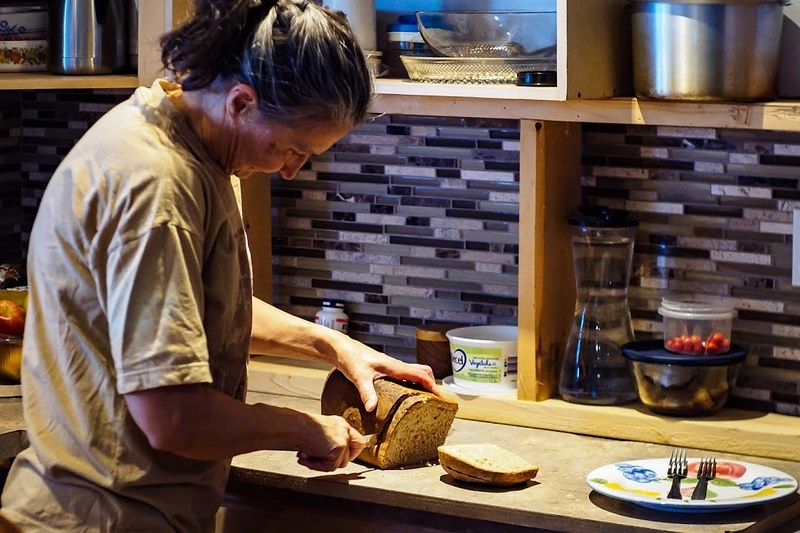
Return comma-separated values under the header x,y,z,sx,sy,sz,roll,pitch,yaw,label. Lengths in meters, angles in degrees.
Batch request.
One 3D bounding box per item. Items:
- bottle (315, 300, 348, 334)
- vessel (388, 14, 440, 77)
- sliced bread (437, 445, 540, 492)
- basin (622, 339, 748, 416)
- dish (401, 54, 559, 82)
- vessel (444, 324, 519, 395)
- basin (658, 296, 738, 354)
x,y,z,sx,sy,sz,roll,pitch,yaw,label
-0.201,0.153,2.309,0.097,0.107,0.096,7,-1,-16,bottle
0.013,-0.579,2.057,0.168,0.180,0.161,4,11,18,vessel
0.194,0.433,1.660,0.200,0.073,0.136,8,15,30,sliced bread
0.715,0.287,1.929,0.306,0.161,0.306,-1,2,0,basin
0.173,-0.462,1.799,0.159,0.023,0.165,2,3,40,dish
0.226,0.261,2.058,0.238,0.148,0.236,3,0,-6,vessel
0.713,0.147,1.885,0.143,0.095,0.143,1,-4,0,basin
